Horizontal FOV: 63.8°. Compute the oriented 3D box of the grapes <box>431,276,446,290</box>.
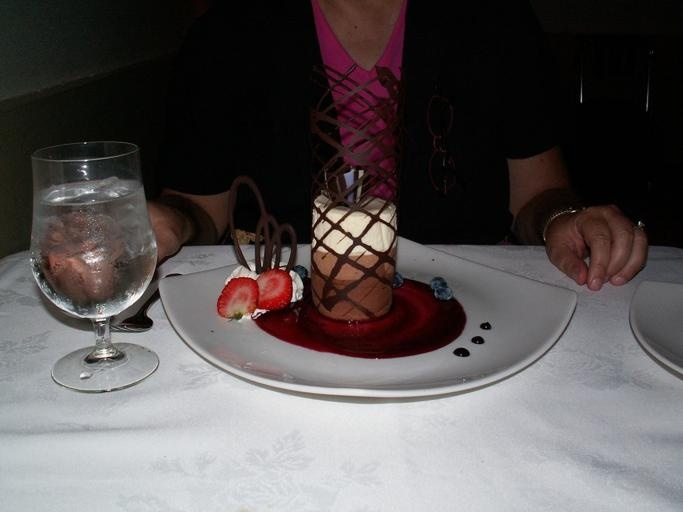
[{"bbox_3d":[0.177,0.049,0.999,0.022,0.012,0.022,6,18,0],"label":"grapes"}]

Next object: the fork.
[{"bbox_3d":[-0.339,0.071,0.928,0.039,0.022,0.150,6,23,7],"label":"fork"}]

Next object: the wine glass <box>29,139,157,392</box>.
[{"bbox_3d":[-0.355,0.019,0.793,0.152,0.307,0.155,13,18,37],"label":"wine glass"}]

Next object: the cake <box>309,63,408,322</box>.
[{"bbox_3d":[0.026,-0.093,0.967,0.150,0.400,0.152,-5,11,-1],"label":"cake"}]

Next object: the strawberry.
[{"bbox_3d":[-0.153,0.050,0.943,0.129,0.080,0.088,-9,15,-28],"label":"strawberry"}]

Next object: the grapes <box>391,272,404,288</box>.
[{"bbox_3d":[0.110,0.043,1.046,0.026,0.014,0.026,1,27,2],"label":"grapes"}]
